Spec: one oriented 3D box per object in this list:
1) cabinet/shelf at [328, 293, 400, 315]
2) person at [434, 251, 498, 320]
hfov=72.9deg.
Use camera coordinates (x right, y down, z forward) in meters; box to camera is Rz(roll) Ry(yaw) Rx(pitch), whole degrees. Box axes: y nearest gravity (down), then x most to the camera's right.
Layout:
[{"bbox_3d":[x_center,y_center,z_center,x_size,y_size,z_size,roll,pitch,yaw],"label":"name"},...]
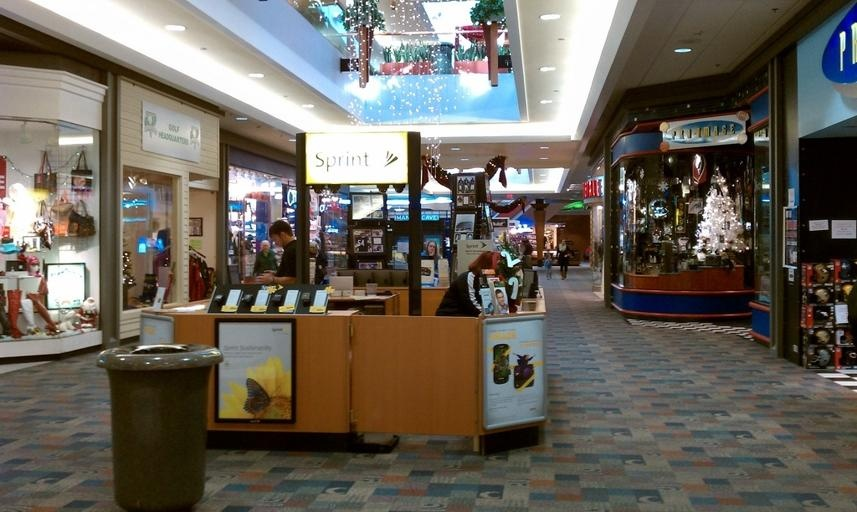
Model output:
[{"bbox_3d":[-1.044,0.754,9.166,0.685,0.368,0.651,-1,1,6],"label":"cabinet/shelf"},{"bbox_3d":[0.494,0.344,6.961,0.744,0.731,0.608,-3,9,-17],"label":"person"}]
